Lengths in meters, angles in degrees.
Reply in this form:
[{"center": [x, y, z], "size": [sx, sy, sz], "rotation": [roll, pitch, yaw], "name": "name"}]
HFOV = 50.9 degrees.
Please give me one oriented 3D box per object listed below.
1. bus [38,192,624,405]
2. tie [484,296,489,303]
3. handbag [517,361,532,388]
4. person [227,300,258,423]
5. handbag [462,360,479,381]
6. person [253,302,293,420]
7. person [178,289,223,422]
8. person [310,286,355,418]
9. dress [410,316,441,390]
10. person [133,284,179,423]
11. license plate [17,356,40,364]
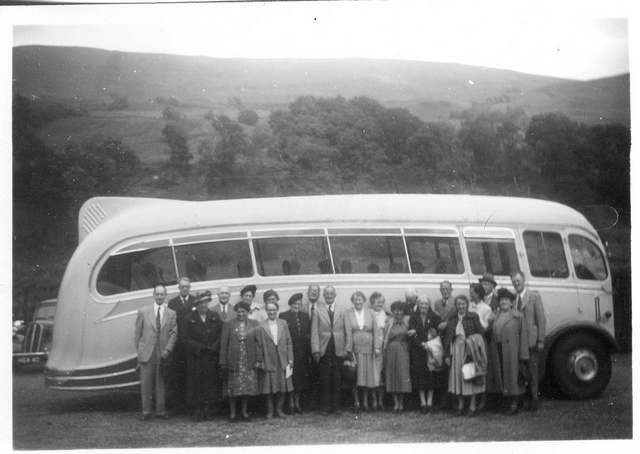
[{"center": [0.911, 0.762, 11.219], "size": [10.251, 4.081, 3.165], "rotation": [-1, -2, -4], "name": "bus"}, {"center": [2.330, 1.009, 9.314], "size": [0.028, 0.081, 0.070], "rotation": [-6, -32, 2], "name": "tie"}, {"center": [2.826, 2.038, 9.286], "size": [0.141, 0.342, 0.248], "rotation": [-1, -8, 33], "name": "handbag"}, {"center": [-1.065, 1.837, 9.112], "size": [0.409, 1.626, 0.420], "rotation": [-2, -7, -9], "name": "person"}, {"center": [2.059, 1.960, 9.151], "size": [0.200, 0.244, 0.094], "rotation": [-4, -7, 11], "name": "handbag"}, {"center": [-0.630, 1.625, 9.071], "size": [0.514, 1.205, 0.177], "rotation": [-2, -6, -4], "name": "person"}, {"center": [-1.567, 1.764, 9.093], "size": [0.552, 1.740, 0.351], "rotation": [-2, -6, -5], "name": "person"}, {"center": [0.188, 1.709, 9.197], "size": [0.566, 1.722, 0.262], "rotation": [-2, -6, -2], "name": "person"}, {"center": [1.452, 1.958, 9.197], "size": [0.416, 0.560, 0.165], "rotation": [0, -7, -25], "name": "dress"}, {"center": [-2.200, 1.734, 9.170], "size": [0.637, 1.871, 0.341], "rotation": [-3, -6, 3], "name": "person"}, {"center": [-4.182, 1.901, 9.597], "size": [0.189, 0.048, 0.186], "rotation": [-1, -4, 1], "name": "license plate"}]
